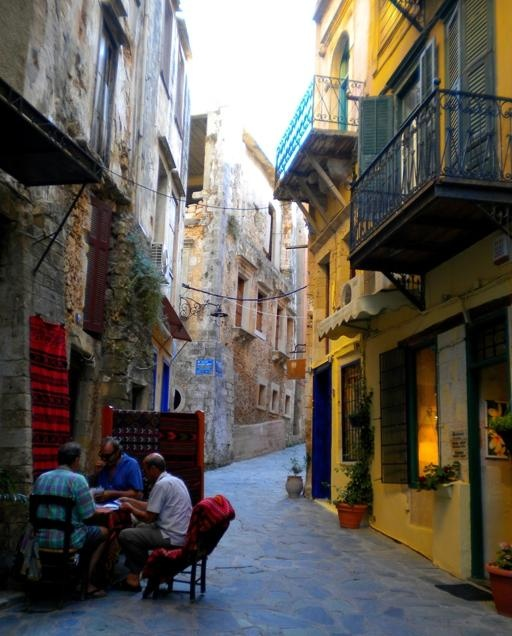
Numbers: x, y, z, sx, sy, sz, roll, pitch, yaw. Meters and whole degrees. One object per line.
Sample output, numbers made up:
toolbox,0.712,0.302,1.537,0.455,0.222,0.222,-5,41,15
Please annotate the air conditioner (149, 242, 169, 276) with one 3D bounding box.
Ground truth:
air conditioner,-2.165,-1.326,11.735,0.276,0.851,0.810,-2,-17,6

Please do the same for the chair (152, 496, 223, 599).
chair,-0.483,1.726,4.098,0.615,0.879,0.643,0,-12,8

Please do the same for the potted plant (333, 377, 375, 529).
potted plant,1.674,2.242,9.024,0.562,2.474,0.517,0,-12,9

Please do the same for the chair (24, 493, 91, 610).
chair,-1.350,1.550,3.593,0.382,0.710,0.516,2,-13,0
